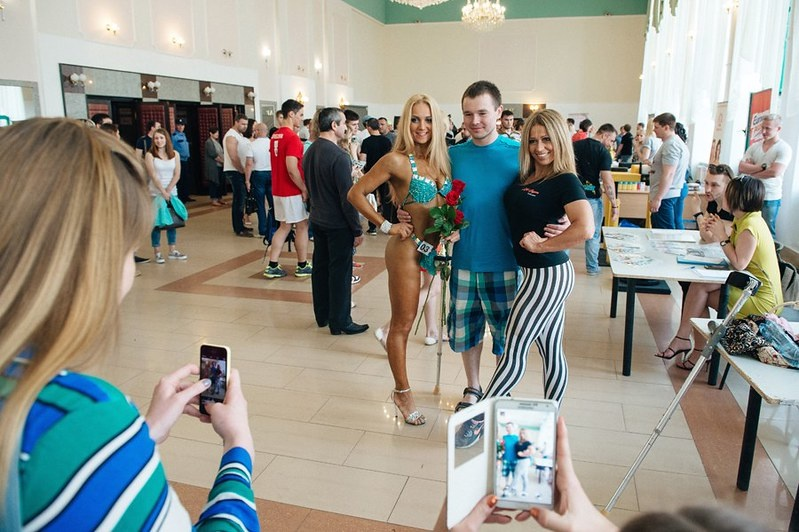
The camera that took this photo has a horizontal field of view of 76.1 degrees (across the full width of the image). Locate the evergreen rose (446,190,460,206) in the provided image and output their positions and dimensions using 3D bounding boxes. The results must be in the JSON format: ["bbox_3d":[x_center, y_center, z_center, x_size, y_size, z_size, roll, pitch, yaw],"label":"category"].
[{"bbox_3d":[0.306,-0.390,2.901,0.077,0.072,0.046,-6,-4,4],"label":"evergreen rose"}]

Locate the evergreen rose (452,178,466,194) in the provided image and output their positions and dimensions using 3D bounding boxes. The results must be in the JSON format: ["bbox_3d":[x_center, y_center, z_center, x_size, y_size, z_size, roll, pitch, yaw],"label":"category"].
[{"bbox_3d":[0.334,-0.461,2.913,0.078,0.072,0.075,1,6,-5],"label":"evergreen rose"}]

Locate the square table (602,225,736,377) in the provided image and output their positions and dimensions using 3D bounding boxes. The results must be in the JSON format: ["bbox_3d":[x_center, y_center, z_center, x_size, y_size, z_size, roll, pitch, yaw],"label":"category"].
[{"bbox_3d":[2.205,0.289,4.186,0.654,0.570,1.191,4,19,16],"label":"square table"}]

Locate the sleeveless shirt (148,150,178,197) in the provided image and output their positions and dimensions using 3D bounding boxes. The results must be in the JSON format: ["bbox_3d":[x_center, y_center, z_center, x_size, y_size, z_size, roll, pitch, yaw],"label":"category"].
[{"bbox_3d":[-3.197,-1.246,6.895,0.458,0.530,0.246,-8,27,-43],"label":"sleeveless shirt"}]

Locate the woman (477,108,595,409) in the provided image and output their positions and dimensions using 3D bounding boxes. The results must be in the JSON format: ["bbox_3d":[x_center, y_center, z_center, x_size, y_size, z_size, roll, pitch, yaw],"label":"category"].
[{"bbox_3d":[0.765,0.043,2.832,0.551,1.772,0.613,2,16,19],"label":"woman"}]

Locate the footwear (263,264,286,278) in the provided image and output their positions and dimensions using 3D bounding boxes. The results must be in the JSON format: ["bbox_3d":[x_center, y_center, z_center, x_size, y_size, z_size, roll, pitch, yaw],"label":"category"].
[{"bbox_3d":[-1.529,0.056,6.322,0.331,0.142,0.123,-2,17,-19],"label":"footwear"}]

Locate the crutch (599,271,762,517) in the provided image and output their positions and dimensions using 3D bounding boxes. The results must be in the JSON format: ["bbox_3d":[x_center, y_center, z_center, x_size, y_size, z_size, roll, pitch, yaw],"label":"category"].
[{"bbox_3d":[1.753,0.796,3.168,0.157,1.380,0.198,35,-3,-5],"label":"crutch"}]

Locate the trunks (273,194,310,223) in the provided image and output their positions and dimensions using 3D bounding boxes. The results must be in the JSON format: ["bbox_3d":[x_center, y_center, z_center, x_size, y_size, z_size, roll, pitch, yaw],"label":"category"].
[{"bbox_3d":[-1.274,-0.677,6.168,0.512,0.365,0.301,6,11,31],"label":"trunks"}]

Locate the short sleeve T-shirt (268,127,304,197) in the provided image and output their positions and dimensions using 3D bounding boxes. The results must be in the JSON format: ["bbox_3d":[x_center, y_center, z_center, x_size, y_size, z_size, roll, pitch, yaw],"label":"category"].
[{"bbox_3d":[-1.372,-1.238,6.041,0.560,0.798,0.255,10,20,40],"label":"short sleeve T-shirt"}]

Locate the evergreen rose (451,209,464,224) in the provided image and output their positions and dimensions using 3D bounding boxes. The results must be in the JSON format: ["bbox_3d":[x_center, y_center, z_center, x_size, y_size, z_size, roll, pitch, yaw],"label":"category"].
[{"bbox_3d":[0.327,-0.284,2.993,0.080,0.081,0.080,3,33,-12],"label":"evergreen rose"}]

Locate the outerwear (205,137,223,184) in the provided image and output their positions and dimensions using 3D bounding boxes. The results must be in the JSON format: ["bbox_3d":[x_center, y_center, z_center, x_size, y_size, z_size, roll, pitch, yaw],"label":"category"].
[{"bbox_3d":[-4.137,-2.400,11.557,0.335,1.044,0.397,7,19,4],"label":"outerwear"}]

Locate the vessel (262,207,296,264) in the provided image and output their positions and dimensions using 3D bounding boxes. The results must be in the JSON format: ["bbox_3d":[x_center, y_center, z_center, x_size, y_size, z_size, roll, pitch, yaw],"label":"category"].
[{"bbox_3d":[-1.605,-0.392,6.843,0.432,0.786,0.915,-5,-19,-15],"label":"vessel"}]
